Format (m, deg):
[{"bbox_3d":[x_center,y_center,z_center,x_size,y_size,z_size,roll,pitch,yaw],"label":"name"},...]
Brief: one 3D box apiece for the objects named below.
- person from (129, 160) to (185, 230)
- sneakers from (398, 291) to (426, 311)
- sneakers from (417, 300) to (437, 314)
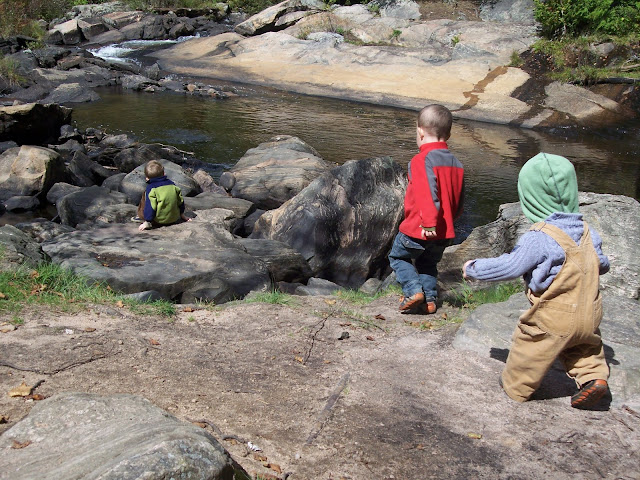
[{"bbox_3d":[-2.133,-0.569,7.329,0.574,0.784,0.801,-5,29,-8],"label":"person"},{"bbox_3d":[0.902,0.611,5.458,0.138,0.323,0.122,20,53,-31],"label":"sneakers"},{"bbox_3d":[1.078,0.677,5.500,0.122,0.072,0.205,1,7,0],"label":"sneakers"}]
